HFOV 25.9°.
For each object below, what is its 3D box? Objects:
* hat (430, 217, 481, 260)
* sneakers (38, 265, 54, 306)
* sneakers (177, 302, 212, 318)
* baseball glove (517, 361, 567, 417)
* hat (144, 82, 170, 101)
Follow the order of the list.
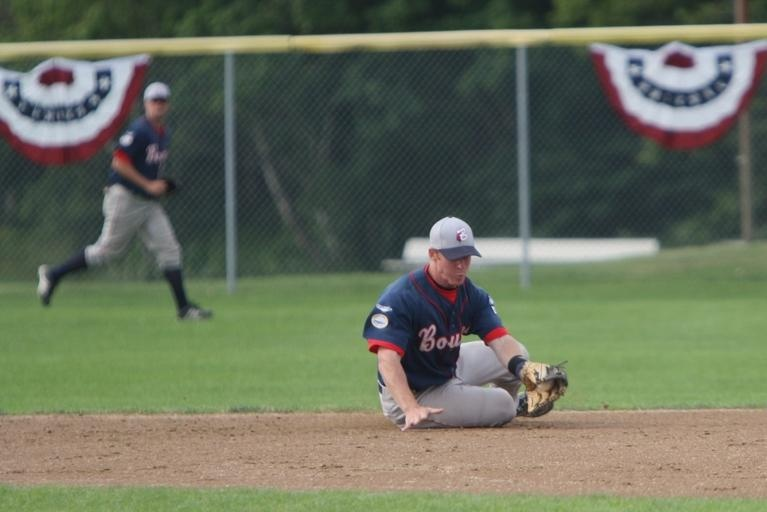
[{"bbox_3d":[0.673,-0.183,15.408,0.408,0.325,0.591,-8,22,-29],"label":"hat"},{"bbox_3d":[-3.623,0.319,17.797,0.186,0.425,0.166,-1,0,6],"label":"sneakers"},{"bbox_3d":[-1.991,0.579,17.652,0.282,0.130,0.162,-2,-1,12],"label":"sneakers"},{"bbox_3d":[1.477,1.272,15.686,0.443,0.557,0.281,1,31,-15],"label":"baseball glove"},{"bbox_3d":[-2.395,-1.725,17.564,0.281,0.206,0.287,-3,4,-9],"label":"hat"}]
